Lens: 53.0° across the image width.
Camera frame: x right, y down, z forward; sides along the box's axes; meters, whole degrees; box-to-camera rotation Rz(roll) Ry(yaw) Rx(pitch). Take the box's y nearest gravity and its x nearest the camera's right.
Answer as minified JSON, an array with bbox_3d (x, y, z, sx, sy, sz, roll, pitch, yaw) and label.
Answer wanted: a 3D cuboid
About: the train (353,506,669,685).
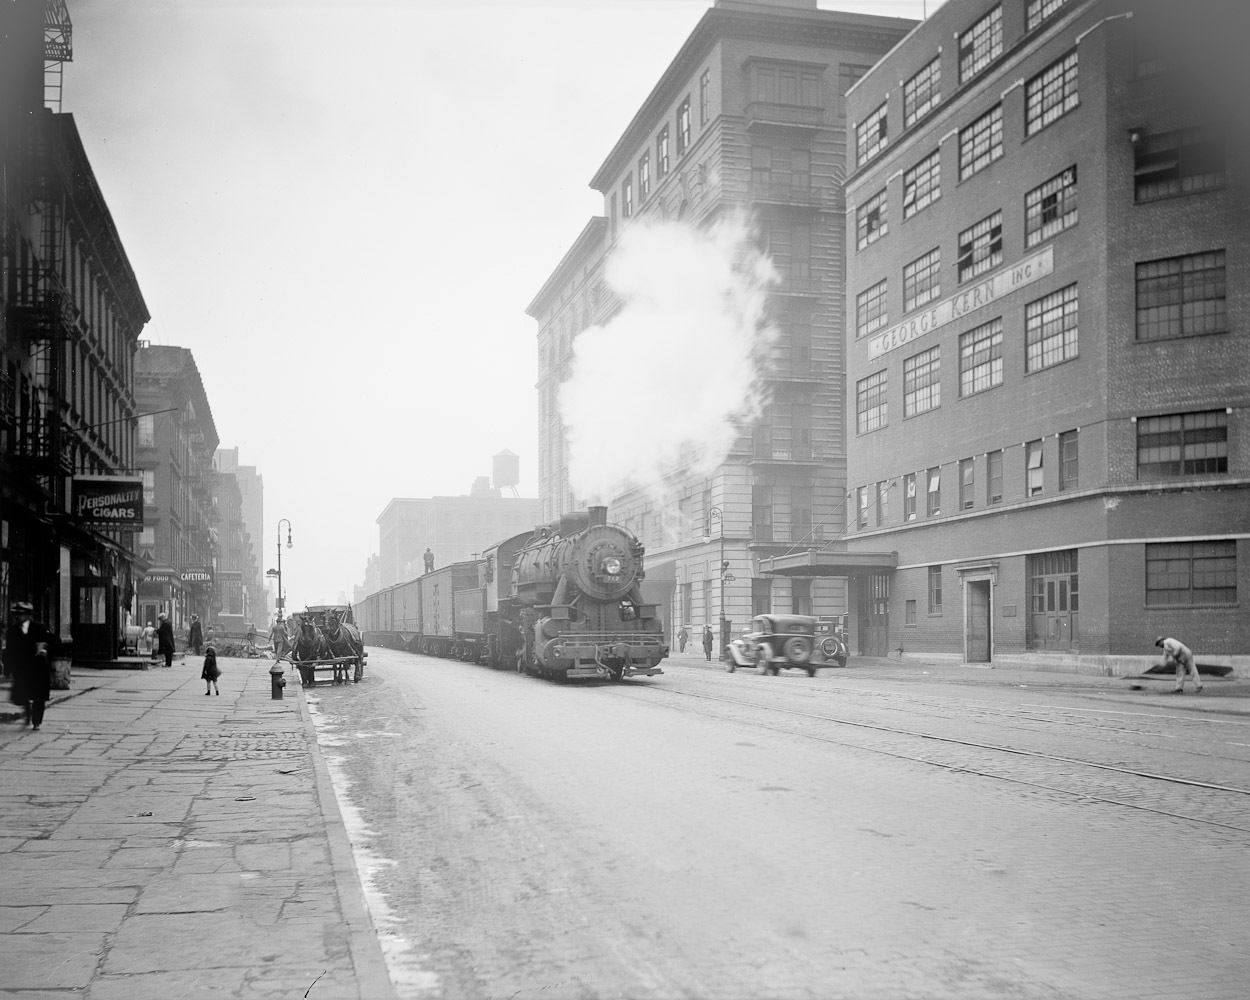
[{"bbox_3d":[-3.543,3.952,42.553,3.569,5.644,29.575,1,-9,-16],"label":"train"}]

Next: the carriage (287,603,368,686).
[{"bbox_3d":[-7.203,3.512,30.299,1.584,2.029,3.136,2,-9,-13],"label":"carriage"}]

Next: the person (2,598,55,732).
[{"bbox_3d":[-8.310,2.305,17.449,0.666,2.094,0.574,-1,3,-27],"label":"person"}]
